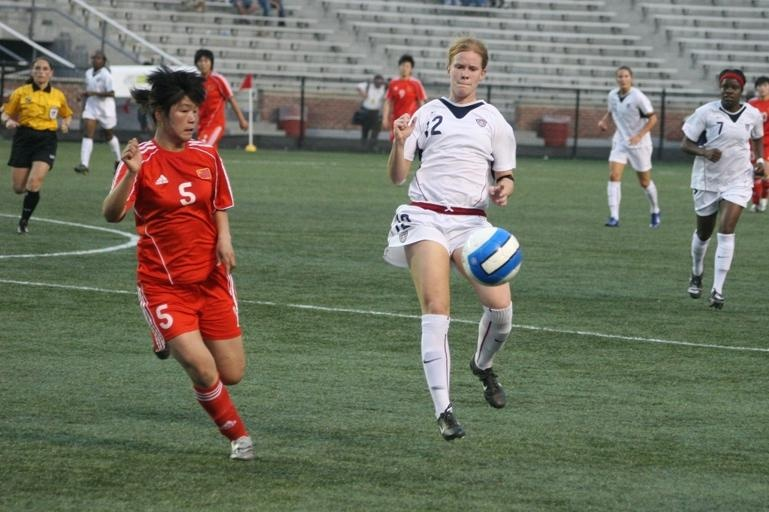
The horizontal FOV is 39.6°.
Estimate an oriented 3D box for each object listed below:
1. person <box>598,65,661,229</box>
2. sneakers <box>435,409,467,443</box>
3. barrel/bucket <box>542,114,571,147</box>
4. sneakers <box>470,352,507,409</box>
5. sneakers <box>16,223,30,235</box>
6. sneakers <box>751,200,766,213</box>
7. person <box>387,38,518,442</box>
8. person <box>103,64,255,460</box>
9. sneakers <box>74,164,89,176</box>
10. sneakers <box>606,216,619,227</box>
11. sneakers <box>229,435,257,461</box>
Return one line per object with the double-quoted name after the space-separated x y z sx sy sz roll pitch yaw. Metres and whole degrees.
3.379 -1.499 14.450 0.795 2.107 0.834 4 9 10 "person"
0.428 1.102 6.920 0.181 0.213 0.218 3 9 4 "sneakers"
4.488 -3.292 28.011 0.792 0.689 0.583 4 22 17 "barrel/bucket"
0.739 0.887 7.475 0.134 0.375 0.160 -23 -24 -7 "sneakers"
-4.053 -0.305 11.906 0.081 0.092 0.218 -2 2 -35 "sneakers"
5.755 -0.770 16.310 0.176 0.219 0.236 -2 -3 -12 "sneakers"
0.377 -0.249 7.429 0.893 2.558 1.161 5 9 15 "person"
-1.255 0.012 6.883 1.005 2.424 0.548 5 9 17 "person"
-5.094 -1.459 17.865 0.156 0.166 0.371 0 10 -15 "sneakers"
3.043 -0.455 14.328 0.095 0.092 0.230 -2 -2 21 "sneakers"
-0.906 1.199 6.774 0.153 0.147 0.221 1 9 -10 "sneakers"
